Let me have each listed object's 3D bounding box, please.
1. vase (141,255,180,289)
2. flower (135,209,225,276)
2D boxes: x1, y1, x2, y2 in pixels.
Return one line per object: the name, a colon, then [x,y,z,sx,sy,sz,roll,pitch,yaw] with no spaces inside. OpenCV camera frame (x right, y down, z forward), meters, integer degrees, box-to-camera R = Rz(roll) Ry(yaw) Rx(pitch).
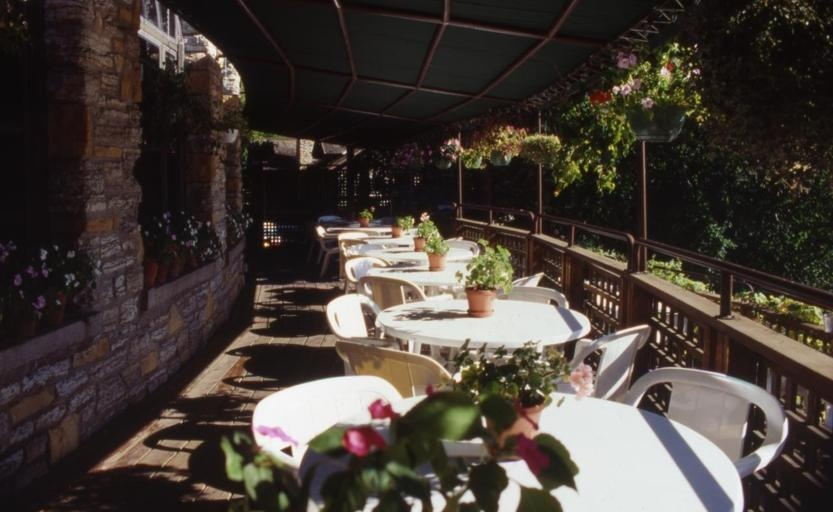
vase: [-2.441,0.164,5.437,0.307,0.249,0.327,-1,0,-43]
flower: [-2.555,-0.144,6.210,0.566,0.631,1.798,-1,11,-12]
